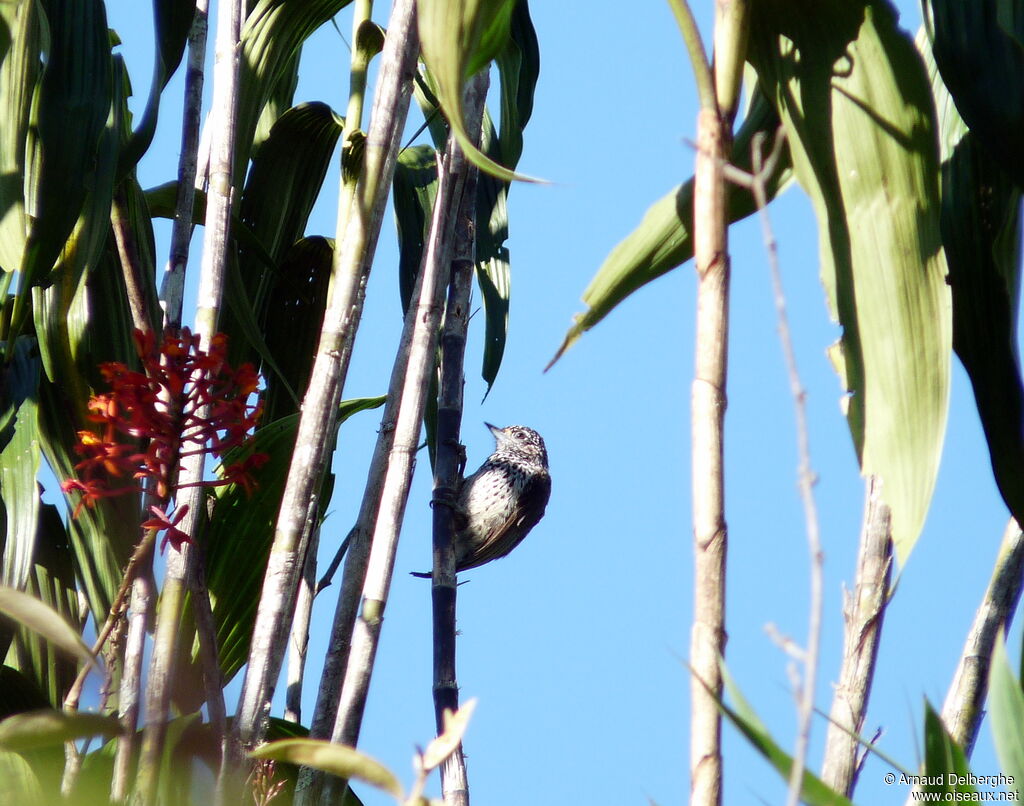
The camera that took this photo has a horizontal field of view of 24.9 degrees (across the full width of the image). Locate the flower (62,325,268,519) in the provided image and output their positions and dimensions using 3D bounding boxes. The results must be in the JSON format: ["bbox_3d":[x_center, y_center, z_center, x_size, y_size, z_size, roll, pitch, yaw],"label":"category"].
[{"bbox_3d":[-0.531,0.029,3.505,0.147,0.178,0.197,-21,-11,-19],"label":"flower"}]

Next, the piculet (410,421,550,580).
[{"bbox_3d":[-0.036,0.280,6.440,0.199,0.499,0.258,9,-33,22],"label":"piculet"}]
